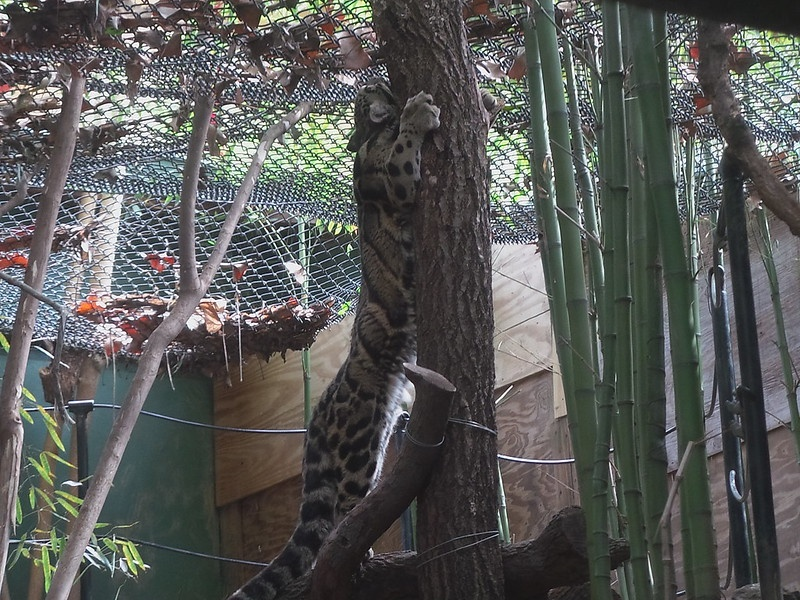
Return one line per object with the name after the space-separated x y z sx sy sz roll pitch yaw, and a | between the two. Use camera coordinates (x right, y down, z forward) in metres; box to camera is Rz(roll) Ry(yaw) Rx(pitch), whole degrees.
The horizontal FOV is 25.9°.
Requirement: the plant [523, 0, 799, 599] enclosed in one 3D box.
0.816 -0.069 6.743 0.491 2.441 0.887 4 -11 -27 | plant
